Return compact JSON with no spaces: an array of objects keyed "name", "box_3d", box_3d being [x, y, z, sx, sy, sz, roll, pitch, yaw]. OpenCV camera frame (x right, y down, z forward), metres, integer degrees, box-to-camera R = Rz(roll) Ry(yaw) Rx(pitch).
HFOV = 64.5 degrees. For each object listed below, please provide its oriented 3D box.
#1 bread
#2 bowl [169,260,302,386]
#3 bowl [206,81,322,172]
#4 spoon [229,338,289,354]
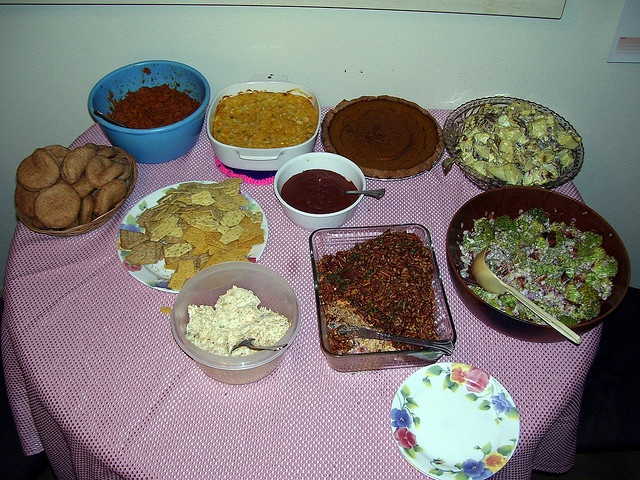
[{"name":"bread","box_3d":[0.389,-0.634,3.102,0.576,0.119,0.578,34,60,23]},{"name":"bowl","box_3d":[-0.403,0.400,2.461,0.595,0.279,0.540,2,55,-2]},{"name":"bowl","box_3d":[-0.350,-0.641,2.910,0.594,0.225,0.729,2,58,0]},{"name":"spoon","box_3d":[-0.283,0.482,2.288,0.179,0.030,0.094,0,47,10]}]
